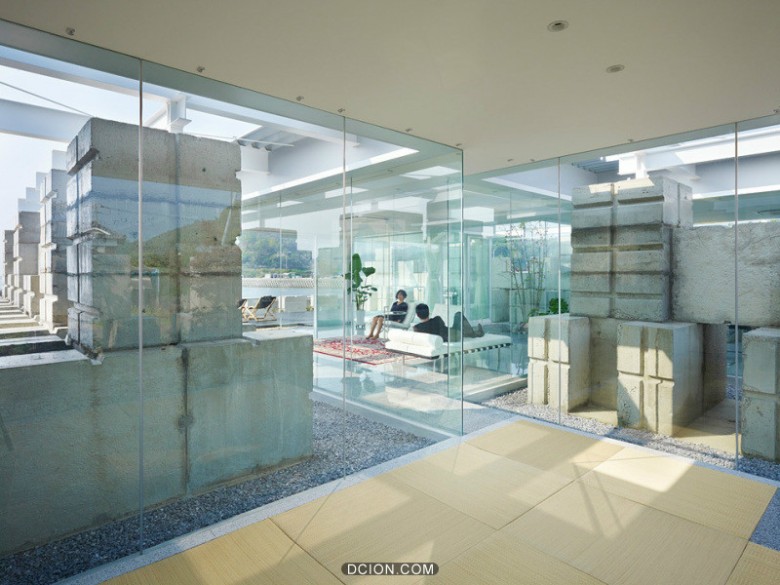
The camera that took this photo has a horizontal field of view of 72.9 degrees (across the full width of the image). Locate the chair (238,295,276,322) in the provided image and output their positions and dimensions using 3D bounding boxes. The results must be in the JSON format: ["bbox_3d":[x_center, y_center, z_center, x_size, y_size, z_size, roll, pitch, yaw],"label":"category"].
[{"bbox_3d":[-1.160,0.138,4.548,0.279,0.163,0.199,13,12,42],"label":"chair"}]
